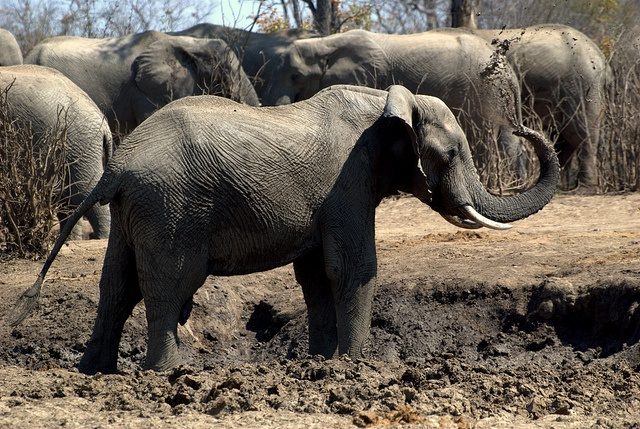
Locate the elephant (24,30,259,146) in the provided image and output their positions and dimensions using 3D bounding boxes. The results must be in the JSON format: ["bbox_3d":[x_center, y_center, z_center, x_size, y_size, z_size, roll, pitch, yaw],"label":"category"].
[{"bbox_3d":[-3.261,-2.367,17.787,3.955,2.636,1.949,1,8,-2],"label":"elephant"}]
